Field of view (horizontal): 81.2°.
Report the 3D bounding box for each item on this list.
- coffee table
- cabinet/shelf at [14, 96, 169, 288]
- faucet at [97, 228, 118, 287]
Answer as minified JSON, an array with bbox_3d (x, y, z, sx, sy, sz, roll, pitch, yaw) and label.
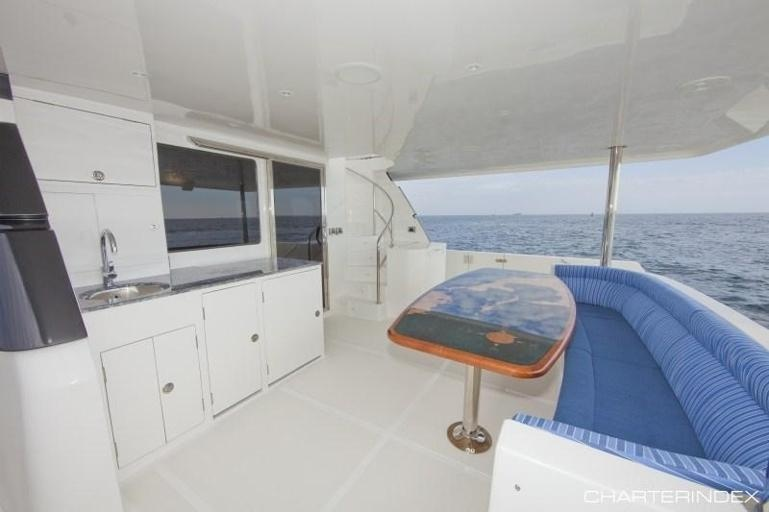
[{"bbox_3d":[0.723,0.575,3.475,1.304,0.995,2.310,7,16,25],"label":"coffee table"},{"bbox_3d":[-2.379,-0.543,3.735,1.050,1.326,0.578,-1,15,-44],"label":"cabinet/shelf"},{"bbox_3d":[-2.252,0.015,3.654,0.148,0.486,0.348,-8,12,-31],"label":"faucet"}]
